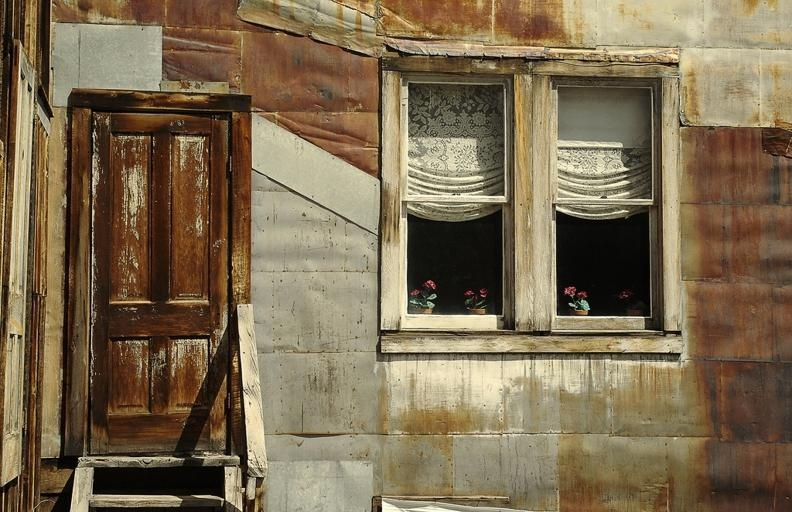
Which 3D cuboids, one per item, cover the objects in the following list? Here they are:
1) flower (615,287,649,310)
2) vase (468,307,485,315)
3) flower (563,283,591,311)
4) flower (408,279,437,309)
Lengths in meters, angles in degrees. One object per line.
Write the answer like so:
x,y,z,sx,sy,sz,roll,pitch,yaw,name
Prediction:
2.232,0.408,16.175,0.241,0.137,0.219,6,-1,33,flower
0.780,0.511,16.097,0.160,0.065,0.032,-2,-5,1,vase
1.703,0.396,16.132,0.221,0.249,0.181,-8,-41,-4,flower
0.269,0.367,16.167,0.240,0.270,0.201,13,-2,9,flower
